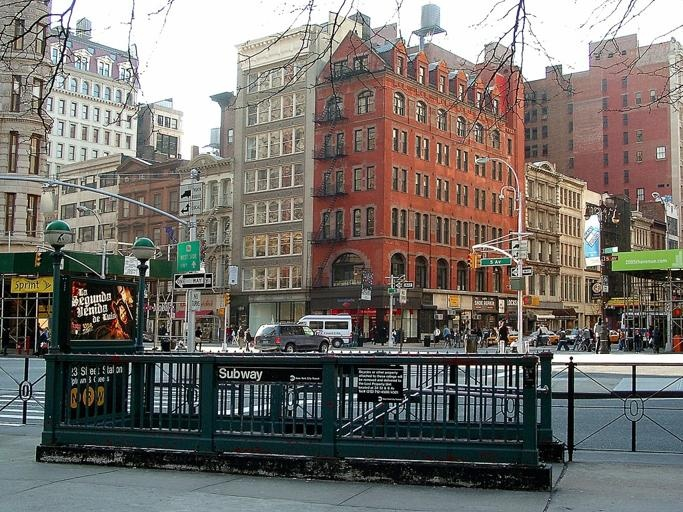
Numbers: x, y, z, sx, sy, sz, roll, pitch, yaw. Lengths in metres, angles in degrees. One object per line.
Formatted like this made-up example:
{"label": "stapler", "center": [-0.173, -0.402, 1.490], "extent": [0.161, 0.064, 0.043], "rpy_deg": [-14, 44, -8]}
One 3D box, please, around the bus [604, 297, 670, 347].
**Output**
{"label": "bus", "center": [18.595, 4.159, 67.984], "extent": [4.747, 4.816, 2.369], "rpy_deg": [-3, -5, 40]}

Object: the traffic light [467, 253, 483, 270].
{"label": "traffic light", "center": [7.549, 0.329, 61.646], "extent": [0.955, 0.922, 0.921], "rpy_deg": [1, 3, 6]}
